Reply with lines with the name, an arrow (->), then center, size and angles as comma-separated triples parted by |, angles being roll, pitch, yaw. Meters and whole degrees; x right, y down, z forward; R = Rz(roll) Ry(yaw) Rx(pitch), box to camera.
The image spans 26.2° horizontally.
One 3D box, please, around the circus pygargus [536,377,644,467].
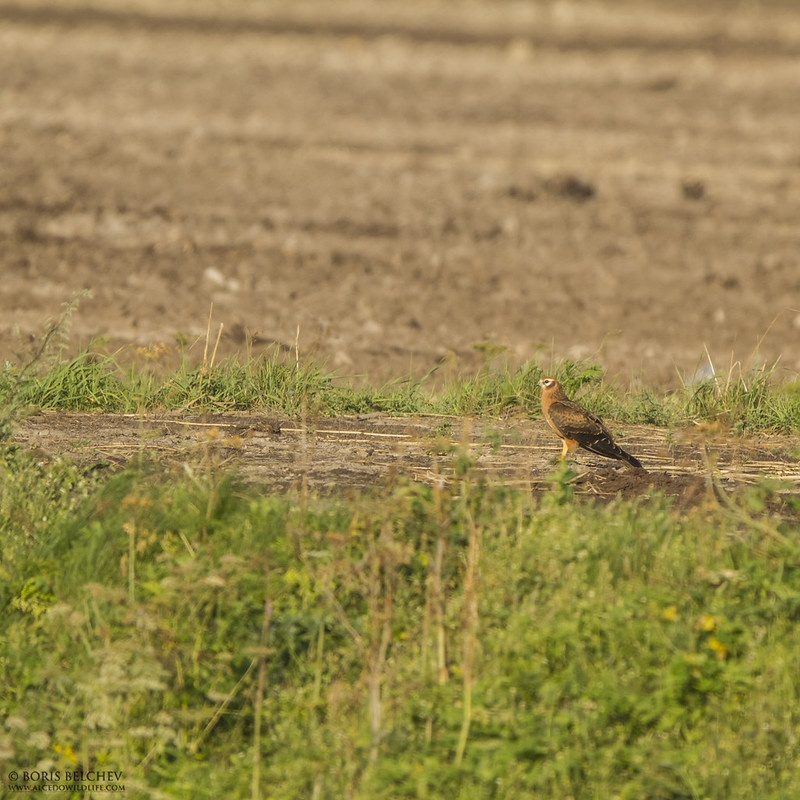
circus pygargus -> 1.205, 0.209, 11.206 | 0.321, 0.496, 0.976 | -18, 26, -32
